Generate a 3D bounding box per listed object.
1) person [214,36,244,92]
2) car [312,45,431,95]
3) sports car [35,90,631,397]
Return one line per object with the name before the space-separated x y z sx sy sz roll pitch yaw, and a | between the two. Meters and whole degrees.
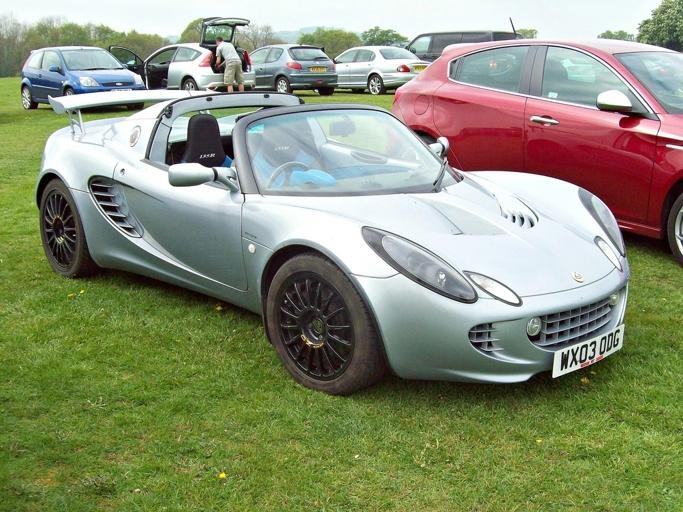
person | -3.035 -5.280 15.434 0.621 1.428 1.086 -5 15 -23
car | 1.010 -6.488 20.305 2.208 1.524 4.656 -17 25 -37
sports car | -0.361 -0.275 4.272 4.265 1.269 2.247 14 20 37
